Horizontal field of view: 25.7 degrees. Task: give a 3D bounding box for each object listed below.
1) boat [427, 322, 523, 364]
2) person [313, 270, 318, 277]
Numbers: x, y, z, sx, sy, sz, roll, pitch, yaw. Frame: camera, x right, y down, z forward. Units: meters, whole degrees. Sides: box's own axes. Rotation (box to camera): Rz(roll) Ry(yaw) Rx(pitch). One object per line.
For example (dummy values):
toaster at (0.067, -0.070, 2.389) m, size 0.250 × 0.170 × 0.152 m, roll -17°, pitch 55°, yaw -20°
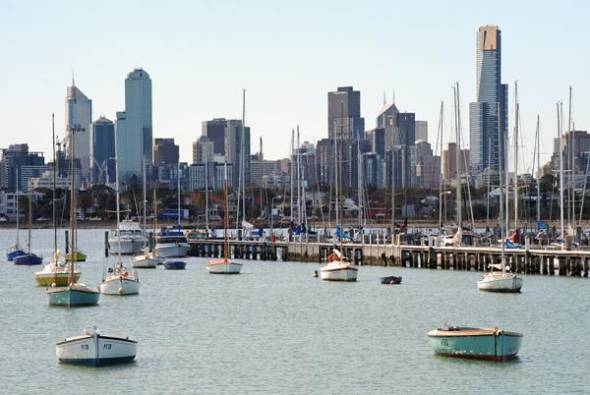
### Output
boat at (15.052, 12.240, 110.511) m, size 5.869 × 2.090 × 3.584 m, roll 0°, pitch 0°, yaw 44°
person at (2.283, 8.427, 148.398) m, size 0.579 × 0.811 × 1.830 m, roll -1°, pitch 0°, yaw -2°
